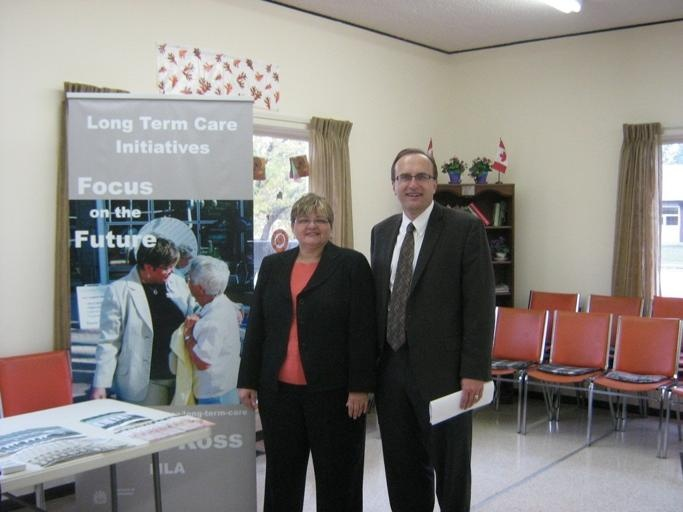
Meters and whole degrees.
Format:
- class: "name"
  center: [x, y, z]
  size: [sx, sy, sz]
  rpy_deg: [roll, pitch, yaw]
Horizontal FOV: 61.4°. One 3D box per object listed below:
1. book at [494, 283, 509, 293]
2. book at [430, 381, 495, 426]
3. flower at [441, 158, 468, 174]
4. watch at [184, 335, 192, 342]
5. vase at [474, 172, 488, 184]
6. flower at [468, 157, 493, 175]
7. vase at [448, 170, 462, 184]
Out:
- class: "book"
  center: [1.841, 0.397, 6.656]
  size: [0.181, 0.100, 0.205]
  rpy_deg: [-1, 4, -3]
- class: "book"
  center: [0.594, 0.783, 3.003]
  size: [0.474, 0.226, 0.145]
  rpy_deg: [-3, 5, -34]
- class: "flower"
  center: [1.284, -1.027, 6.746]
  size: [0.247, 0.174, 0.239]
  rpy_deg: [2, -5, -38]
- class: "watch"
  center: [-0.943, 0.511, 3.527]
  size: [0.036, 0.019, 0.050]
  rpy_deg: [1, -1, -12]
- class: "vase"
  center: [1.597, -0.880, 6.631]
  size: [0.126, 0.134, 0.126]
  rpy_deg: [3, 3, 2]
- class: "flower"
  center: [1.597, -1.009, 6.652]
  size: [0.239, 0.125, 0.249]
  rpy_deg: [4, 2, 39]
- class: "vase"
  center: [1.312, -0.906, 6.706]
  size: [0.129, 0.110, 0.134]
  rpy_deg: [-2, -2, 20]
